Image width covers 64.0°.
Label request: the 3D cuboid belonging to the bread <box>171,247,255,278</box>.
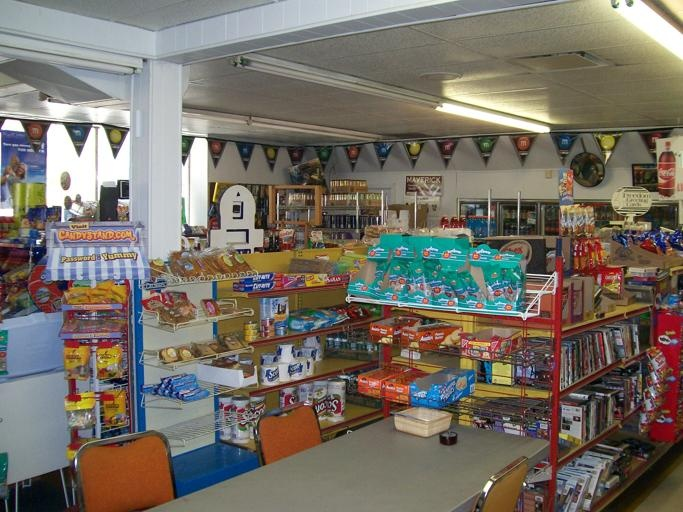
[{"bbox_3d":[-1.172,0.066,4.826,0.471,0.113,0.339,-3,8,-40],"label":"bread"}]

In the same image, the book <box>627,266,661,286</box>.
[{"bbox_3d":[3.208,0.201,5.777,0.277,0.135,0.236,-2,4,-30],"label":"book"}]
